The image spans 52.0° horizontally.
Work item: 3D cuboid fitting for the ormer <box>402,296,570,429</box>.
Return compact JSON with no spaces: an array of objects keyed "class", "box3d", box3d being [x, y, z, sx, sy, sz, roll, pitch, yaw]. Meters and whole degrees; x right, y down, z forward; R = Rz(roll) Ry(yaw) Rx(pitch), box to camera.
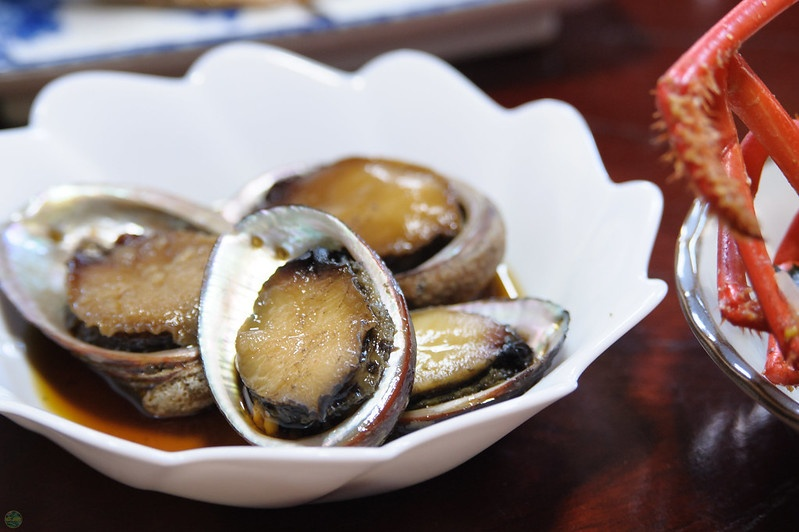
[{"class":"ormer","box3d":[0.139,0.146,1.228,0.215,0.192,0.048,-27,-63,3]}]
